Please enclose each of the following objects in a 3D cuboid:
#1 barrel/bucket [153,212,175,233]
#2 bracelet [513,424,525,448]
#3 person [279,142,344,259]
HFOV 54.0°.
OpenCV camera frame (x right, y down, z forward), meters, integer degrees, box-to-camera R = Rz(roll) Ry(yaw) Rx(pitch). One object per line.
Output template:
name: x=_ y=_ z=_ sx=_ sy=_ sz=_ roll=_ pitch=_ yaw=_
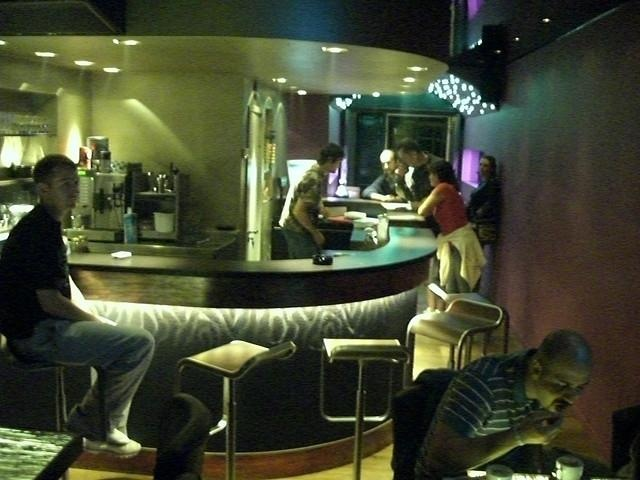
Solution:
barrel/bucket: x=-1.346 y=-0.147 z=5.412 sx=0.210 sy=0.182 sz=0.087 roll=3 pitch=5 yaw=23
bracelet: x=0.737 y=0.721 z=2.322 sx=0.044 sy=0.086 sz=0.045 roll=5 pitch=6 yaw=33
person: x=-0.066 y=-0.348 z=5.776 sx=0.506 sy=1.063 sz=0.418 roll=1 pitch=5 yaw=-6
